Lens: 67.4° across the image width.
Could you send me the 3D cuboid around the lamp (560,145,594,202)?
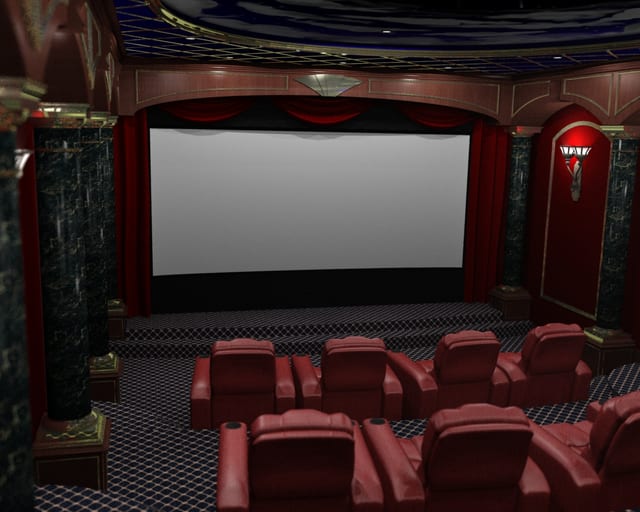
[{"bbox_3d":[3.546,-1.152,6.797,0.267,0.787,0.407,-2,10,-4],"label":"lamp"}]
